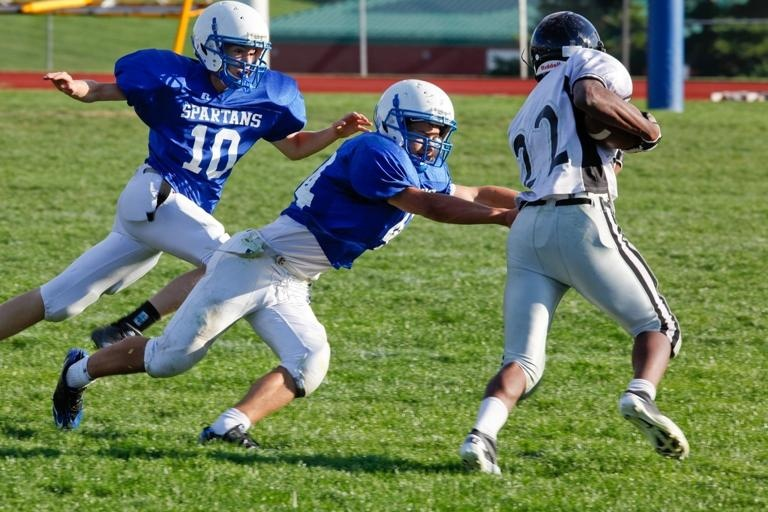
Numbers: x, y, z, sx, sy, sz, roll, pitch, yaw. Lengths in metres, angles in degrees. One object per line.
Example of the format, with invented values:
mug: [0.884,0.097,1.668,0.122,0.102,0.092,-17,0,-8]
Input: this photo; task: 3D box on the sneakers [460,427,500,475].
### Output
sneakers: [0.556,1.124,7.380,0.132,0.372,0.167,-19,43,38]

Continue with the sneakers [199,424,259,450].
sneakers: [-0.907,1.073,7.585,0.416,0.154,0.116,8,36,-6]

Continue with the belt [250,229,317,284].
belt: [-0.613,0.025,7.733,0.359,0.157,0.268,39,-4,-1]

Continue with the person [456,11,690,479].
person: [1.198,0.039,7.460,1.135,2.445,0.735,7,12,5]

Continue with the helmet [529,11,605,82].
helmet: [1.118,-1.304,7.846,0.416,0.340,0.524,17,21,39]
